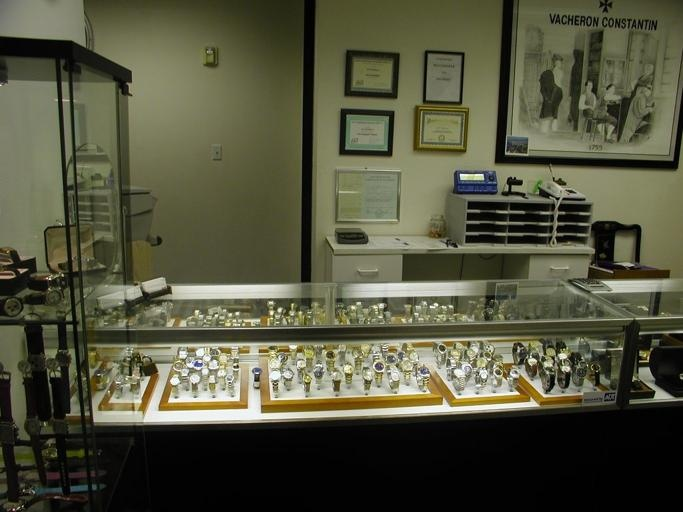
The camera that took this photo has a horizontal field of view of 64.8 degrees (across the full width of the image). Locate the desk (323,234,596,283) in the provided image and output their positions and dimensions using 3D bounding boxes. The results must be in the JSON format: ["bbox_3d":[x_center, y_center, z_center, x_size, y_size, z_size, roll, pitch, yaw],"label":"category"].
[{"bbox_3d":[0.861,0.047,4.101,1.937,0.399,0.646,-3,12,-12],"label":"desk"}]

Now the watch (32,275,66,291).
[{"bbox_3d":[-0.859,0.078,1.573,0.105,0.053,0.008,0,11,0],"label":"watch"}]

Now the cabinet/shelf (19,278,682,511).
[{"bbox_3d":[0.071,0.505,2.154,2.383,1.023,0.617,-3,12,-13],"label":"cabinet/shelf"}]

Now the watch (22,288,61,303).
[{"bbox_3d":[-0.873,0.119,1.584,0.067,0.035,0.056,-1,4,-5],"label":"watch"}]

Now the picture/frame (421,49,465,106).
[{"bbox_3d":[0.766,-1.364,4.059,0.389,0.468,0.035,0,9,-8],"label":"picture/frame"}]

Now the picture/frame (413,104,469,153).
[{"bbox_3d":[0.757,-0.992,4.123,0.345,0.296,0.027,0,8,-6],"label":"picture/frame"}]

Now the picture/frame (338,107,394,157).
[{"bbox_3d":[0.177,-0.949,4.059,0.348,0.311,0.027,-1,11,-9],"label":"picture/frame"}]

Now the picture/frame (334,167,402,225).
[{"bbox_3d":[0.194,-0.487,4.162,0.414,0.365,0.043,0,9,-6],"label":"picture/frame"}]

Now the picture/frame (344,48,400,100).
[{"bbox_3d":[0.217,-1.362,3.987,0.352,0.313,0.028,1,9,-8],"label":"picture/frame"}]
